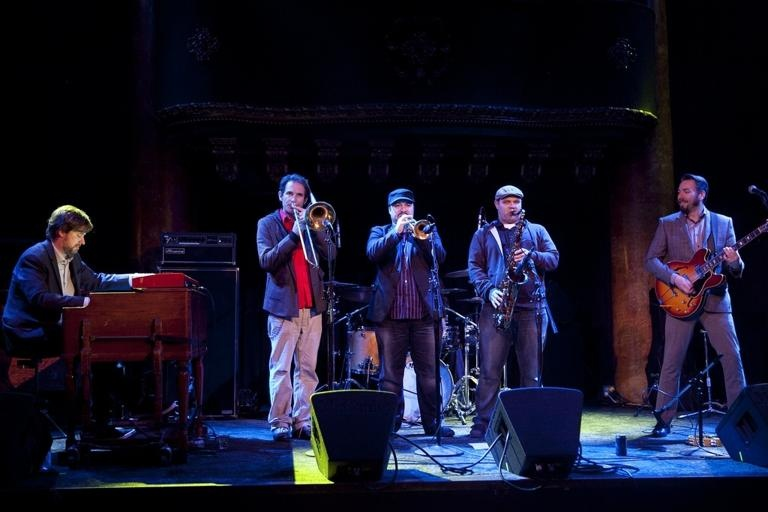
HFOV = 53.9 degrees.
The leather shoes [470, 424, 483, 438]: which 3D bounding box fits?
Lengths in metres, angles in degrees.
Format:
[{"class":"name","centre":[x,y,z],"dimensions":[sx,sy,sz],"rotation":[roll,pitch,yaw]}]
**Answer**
[{"class":"leather shoes","centre":[0.962,1.801,7.774],"dimensions":[0.159,0.126,0.114],"rotation":[2,2,18]}]

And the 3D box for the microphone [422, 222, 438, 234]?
[{"class":"microphone","centre":[0.454,-0.265,7.483],"dimensions":[0.104,0.112,0.196],"rotation":[2,2,21]}]

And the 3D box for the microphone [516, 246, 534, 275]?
[{"class":"microphone","centre":[1.430,0.047,7.615],"dimensions":[0.116,0.233,0.218],"rotation":[4,3,44]}]

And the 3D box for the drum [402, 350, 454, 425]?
[{"class":"drum","centre":[0.461,1.553,8.926],"dimensions":[0.702,0.766,0.736],"rotation":[-2,-16,8]}]

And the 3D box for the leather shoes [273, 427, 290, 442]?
[{"class":"leather shoes","centre":[-1.052,1.816,7.759],"dimensions":[0.181,0.135,0.152],"rotation":[1,2,-6]}]

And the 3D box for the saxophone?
[{"class":"saxophone","centre":[1.305,0.209,7.682],"dimensions":[0.349,1.116,0.268],"rotation":[26,28,19]}]

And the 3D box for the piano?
[{"class":"piano","centre":[-2.578,1.130,7.738],"dimensions":[1.092,1.715,1.930],"rotation":[1,-5,-12]}]

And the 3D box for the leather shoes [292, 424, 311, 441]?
[{"class":"leather shoes","centre":[-0.852,1.792,7.765],"dimensions":[0.205,0.158,0.062],"rotation":[2,3,26]}]

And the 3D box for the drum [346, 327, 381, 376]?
[{"class":"drum","centre":[-0.196,1.154,9.164],"dimensions":[0.464,0.490,0.480],"rotation":[-1,-7,5]}]

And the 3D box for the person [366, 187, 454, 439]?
[{"class":"person","centre":[0.269,0.604,7.843],"dimensions":[0.587,2.579,1.036],"rotation":[-2,4,-45]}]

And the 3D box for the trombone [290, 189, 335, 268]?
[{"class":"trombone","centre":[-0.725,-0.255,7.683],"dimensions":[0.442,0.749,0.524],"rotation":[1,2,-8]}]

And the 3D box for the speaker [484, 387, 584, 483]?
[{"class":"speaker","centre":[1.352,1.536,6.546],"dimensions":[0.780,0.773,0.677],"rotation":[14,-30,-4]}]

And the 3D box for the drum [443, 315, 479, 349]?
[{"class":"drum","centre":[0.951,0.928,9.313],"dimensions":[0.387,0.374,0.482],"rotation":[0,-1,5]}]

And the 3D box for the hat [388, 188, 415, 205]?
[{"class":"hat","centre":[0.179,-0.610,7.888],"dimensions":[0.234,0.180,0.405],"rotation":[1,2,-4]}]

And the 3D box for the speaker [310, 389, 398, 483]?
[{"class":"speaker","centre":[-0.257,1.452,6.568],"dimensions":[0.622,0.811,0.555],"rotation":[1,4,-2]}]

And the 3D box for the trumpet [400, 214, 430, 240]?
[{"class":"trumpet","centre":[0.325,-0.278,7.499],"dimensions":[0.367,0.192,0.146],"rotation":[3,3,35]}]
